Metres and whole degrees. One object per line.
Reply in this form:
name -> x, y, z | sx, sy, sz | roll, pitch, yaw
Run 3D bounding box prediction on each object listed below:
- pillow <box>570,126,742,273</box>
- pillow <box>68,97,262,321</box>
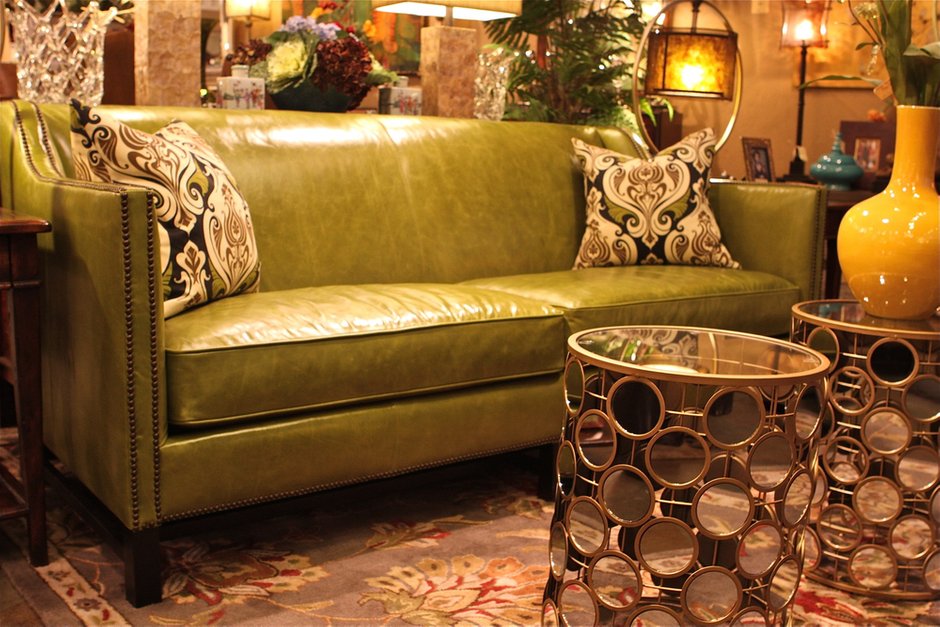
pillow -> 0.680, -0.412, 3.274 | 0.580, 0.508, 0.260 | -4, 14, 10
pillow -> -0.837, -0.287, 2.440 | 0.342, 0.538, 0.618 | 3, 11, 8
